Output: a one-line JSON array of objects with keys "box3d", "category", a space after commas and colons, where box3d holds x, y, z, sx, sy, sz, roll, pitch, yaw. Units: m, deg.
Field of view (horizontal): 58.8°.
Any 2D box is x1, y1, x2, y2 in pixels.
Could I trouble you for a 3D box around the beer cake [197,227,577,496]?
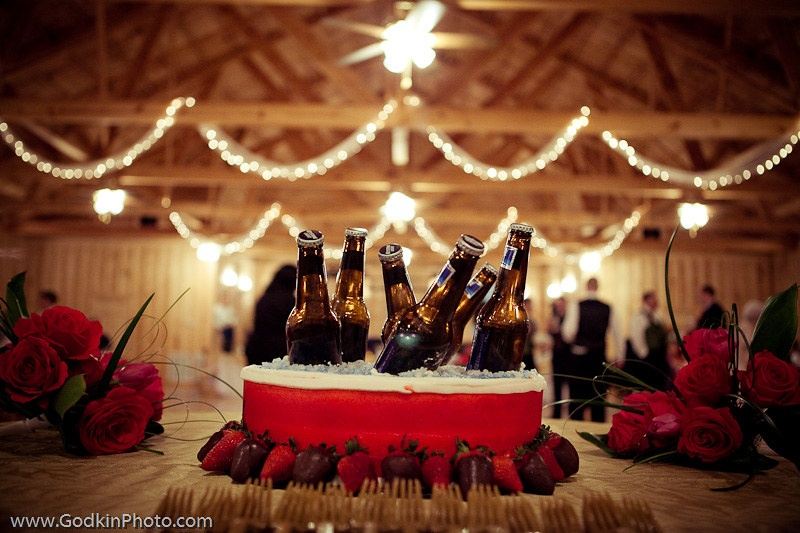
[{"box3d": [-0.031, 0.349, 3.344, 1.358, 0.827, 1.312, 0, -2, 1], "category": "beer cake"}]
